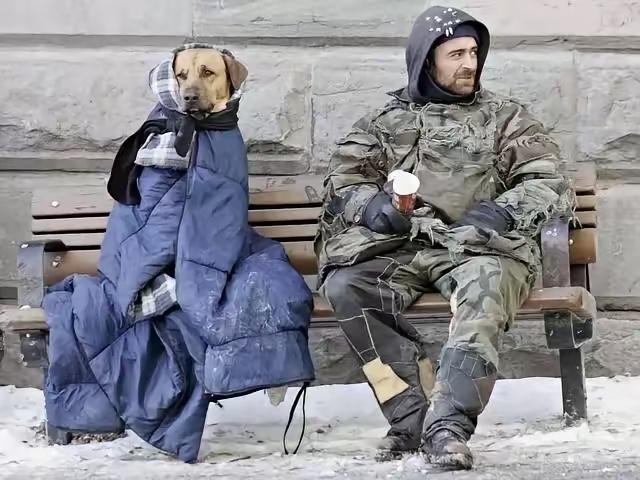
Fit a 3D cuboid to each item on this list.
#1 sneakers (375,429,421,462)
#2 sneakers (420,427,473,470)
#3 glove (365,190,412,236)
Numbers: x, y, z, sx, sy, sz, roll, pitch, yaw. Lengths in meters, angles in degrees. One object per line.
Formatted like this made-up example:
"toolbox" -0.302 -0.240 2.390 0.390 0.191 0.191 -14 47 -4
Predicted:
"sneakers" 0.385 1.040 5.994 0.181 0.107 0.228 -1 9 18
"sneakers" 0.602 1.003 5.676 0.246 0.172 0.185 -2 9 7
"glove" 0.351 -0.140 6.404 0.150 0.223 0.258 -9 10 -32
